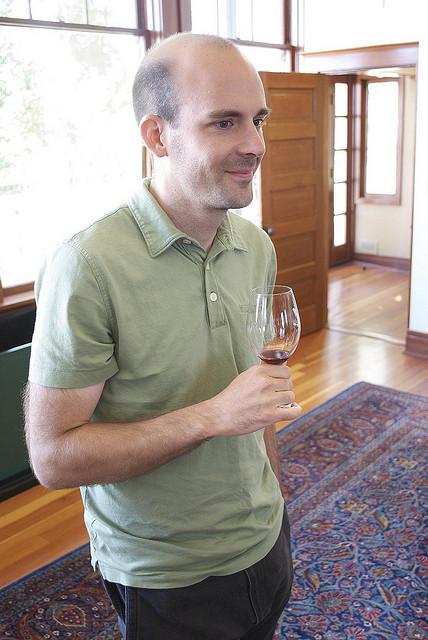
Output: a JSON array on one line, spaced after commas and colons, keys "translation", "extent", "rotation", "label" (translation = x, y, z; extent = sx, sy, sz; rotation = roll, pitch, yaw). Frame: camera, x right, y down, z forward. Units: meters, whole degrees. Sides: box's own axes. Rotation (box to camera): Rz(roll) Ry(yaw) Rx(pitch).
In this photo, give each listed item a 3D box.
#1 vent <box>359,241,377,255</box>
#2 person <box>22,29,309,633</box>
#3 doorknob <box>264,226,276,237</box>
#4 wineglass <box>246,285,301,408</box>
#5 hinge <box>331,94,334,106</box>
[{"translation": [2.309, -1.109, 8.037], "extent": [0.029, 0.145, 0.208], "rotation": [-21, 24, -40], "label": "vent"}, {"translation": [-0.068, 0.079, 0.911], "extent": [0.417, 1.037, 0.492], "rotation": [-1, 16, 8], "label": "person"}, {"translation": [0.494, -0.797, 4.797], "extent": [0.103, 0.110, 0.231], "rotation": [-2, 16, 8], "label": "doorknob"}, {"translation": [0.099, 0.011, 0.866], "extent": [0.096, 0.119, 0.043], "rotation": [-16, 20, -35], "label": "wineglass"}, {"translation": [1.621, -3.065, 7.407], "extent": [0.026, 0.150, 0.078], "rotation": [6, 19, 29], "label": "hinge"}]
